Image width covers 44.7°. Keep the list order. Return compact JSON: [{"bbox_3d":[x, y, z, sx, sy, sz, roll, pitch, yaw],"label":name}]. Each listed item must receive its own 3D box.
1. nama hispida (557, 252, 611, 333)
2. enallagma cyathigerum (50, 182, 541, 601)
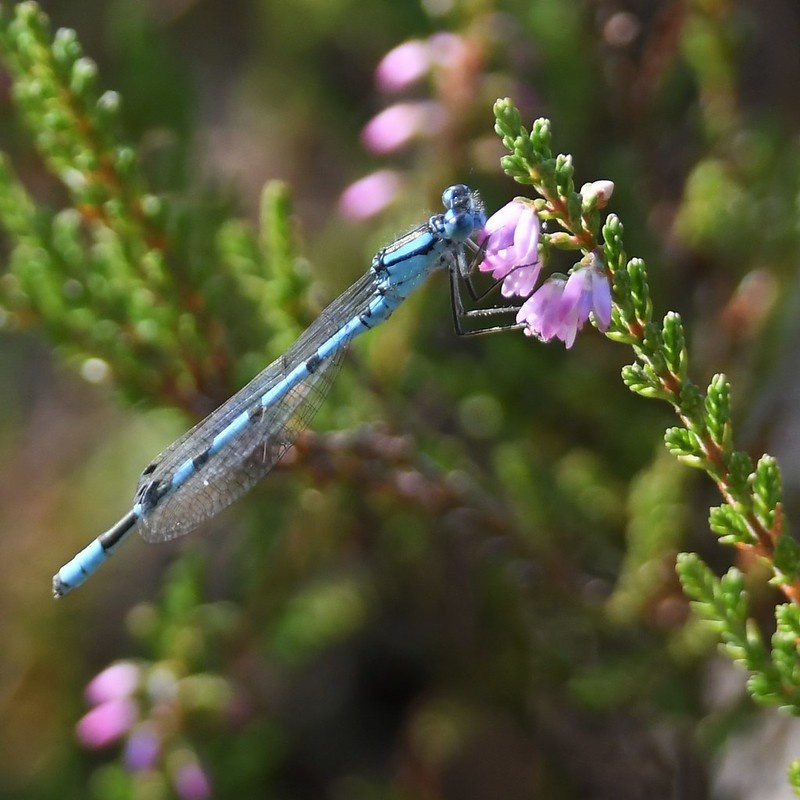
[{"bbox_3d":[0.311,-0.177,1.581,0.063,0.114,0.088,15,-5,-42],"label":"nama hispida"},{"bbox_3d":[-0.245,0.011,2.249,1.036,0.279,0.312,-41,44,-9],"label":"enallagma cyathigerum"}]
